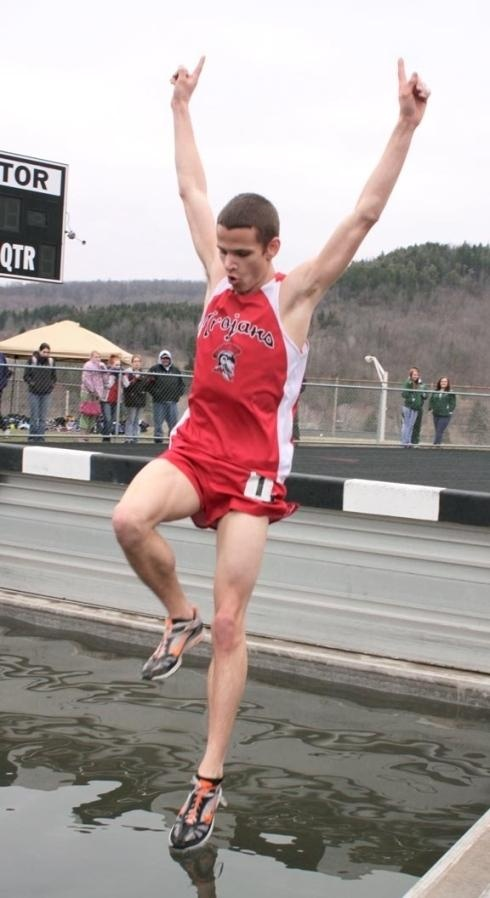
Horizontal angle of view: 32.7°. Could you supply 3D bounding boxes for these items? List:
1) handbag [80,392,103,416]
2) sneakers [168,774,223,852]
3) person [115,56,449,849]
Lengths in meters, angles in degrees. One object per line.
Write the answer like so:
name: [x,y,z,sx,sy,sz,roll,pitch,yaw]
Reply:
handbag: [-2.145,-0.635,11.547,0.333,0.429,0.178,-2,1,-37]
sneakers: [-0.100,0.818,1.876,0.068,0.083,0.201,11,37,10]
person: [-0.056,-0.065,2.249,0.668,1.808,0.677,3,1,-38]
